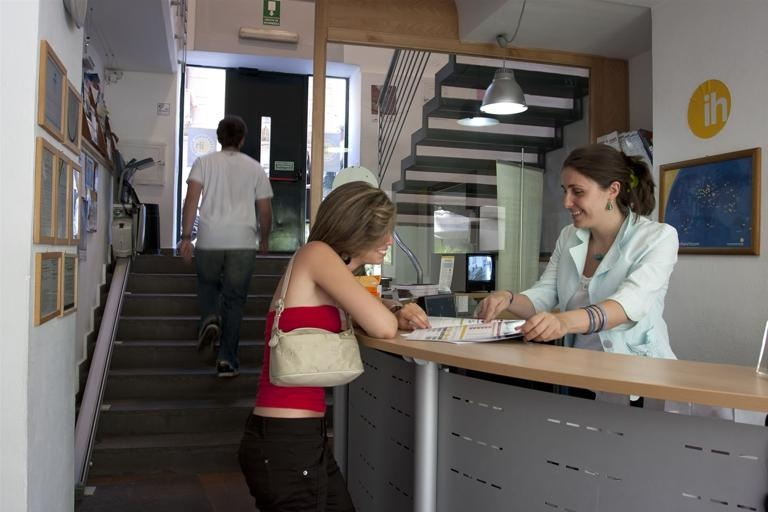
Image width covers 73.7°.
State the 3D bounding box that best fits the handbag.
[{"bbox_3d":[-0.257,0.339,1.815,0.287,0.276,0.117,-1,3,-12],"label":"handbag"}]

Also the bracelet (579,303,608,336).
[{"bbox_3d":[0.835,0.250,2.020,0.098,0.075,0.111,2,5,35],"label":"bracelet"}]

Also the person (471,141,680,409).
[{"bbox_3d":[0.927,0.255,2.376,0.892,1.438,0.731,-2,2,-39],"label":"person"}]

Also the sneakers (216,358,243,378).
[{"bbox_3d":[-1.255,0.896,4.070,0.100,0.101,0.223,1,-15,-2],"label":"sneakers"}]

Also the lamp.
[{"bbox_3d":[1.169,-1.639,4.379,0.442,0.833,0.471,1,6,-27],"label":"lamp"}]

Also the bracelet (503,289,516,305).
[{"bbox_3d":[0.610,0.199,2.466,0.057,0.043,0.058,-5,10,-21],"label":"bracelet"}]

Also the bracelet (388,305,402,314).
[{"bbox_3d":[0.048,0.234,2.245,0.039,0.039,0.012,1,13,-7],"label":"bracelet"}]

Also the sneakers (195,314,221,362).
[{"bbox_3d":[-1.423,0.675,4.139,0.151,0.443,0.190,10,37,-18],"label":"sneakers"}]

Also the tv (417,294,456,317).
[{"bbox_3d":[0.270,0.246,2.622,0.212,0.148,0.107,1,-7,-31],"label":"tv"}]

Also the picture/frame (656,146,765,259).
[{"bbox_3d":[2.265,-0.362,3.482,0.055,0.796,0.835,0,-2,-22],"label":"picture/frame"}]
